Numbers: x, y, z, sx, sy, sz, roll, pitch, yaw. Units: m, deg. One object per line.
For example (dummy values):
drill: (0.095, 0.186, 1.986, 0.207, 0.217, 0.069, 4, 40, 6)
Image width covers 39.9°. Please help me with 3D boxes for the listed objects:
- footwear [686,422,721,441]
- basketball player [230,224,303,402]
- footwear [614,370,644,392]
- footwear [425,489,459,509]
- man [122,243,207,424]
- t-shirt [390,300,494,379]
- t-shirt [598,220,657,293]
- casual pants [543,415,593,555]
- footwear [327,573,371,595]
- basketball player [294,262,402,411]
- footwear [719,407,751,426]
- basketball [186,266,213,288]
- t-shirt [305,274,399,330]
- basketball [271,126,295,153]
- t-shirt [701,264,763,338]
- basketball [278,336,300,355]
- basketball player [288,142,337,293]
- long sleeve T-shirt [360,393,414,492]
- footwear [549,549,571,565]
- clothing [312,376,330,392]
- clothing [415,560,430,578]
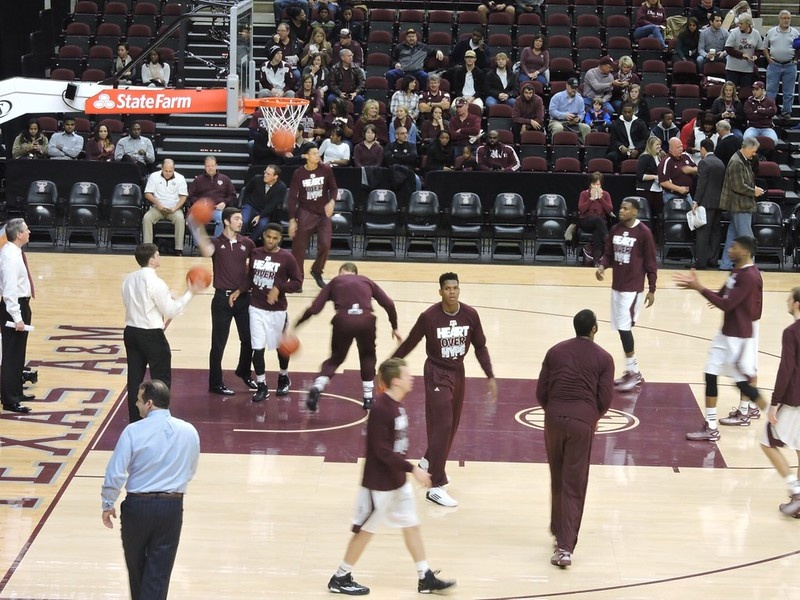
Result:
footwear: (3.399, 1.488, 12.475, 0.384, 0.235, 0.169, 2, 8, 5)
basketball player: (-1.520, 0.160, 13.077, 0.504, 2.137, 0.615, -4, 8, -35)
footwear: (2.835, 0.998, 13.764, 0.395, 0.170, 0.248, -5, 7, -43)
footwear: (0.409, 1.978, 11.131, 0.371, 0.172, 0.134, 11, 16, 32)
man: (-2.607, 0.361, 11.868, 0.728, 2.047, 0.675, 7, 20, 6)
t-shirt: (0.439, 0.416, 10.963, 1.076, 0.812, 0.367, 1, 22, -8)
t-shirt: (2.771, -0.519, 13.518, 0.671, 0.864, 0.315, 2, 7, 9)
casual pants: (1.489, 1.668, 10.039, 0.410, 1.245, 0.274, 7, 9, 40)
footwear: (-0.466, 2.500, 9.782, 0.404, 0.206, 0.156, 4, 8, -4)
basketball player: (-0.665, 0.504, 13.248, 1.499, 2.210, 0.737, 5, -25, -6)
footwear: (3.871, 1.384, 12.891, 0.430, 0.221, 0.156, 1, 3, -1)
basketball: (-2.069, -0.219, 11.395, 0.203, 0.204, 0.376, 1, 7, -5)
t-shirt: (-0.566, 0.042, 12.569, 1.240, 0.641, 0.326, 2, -1, -18)
basketball: (-1.909, -2.694, 18.308, 0.381, 0.453, 0.384, 2, -5, -11)
t-shirt: (3.612, 0.022, 11.935, 0.718, 0.800, 0.419, 1, 7, -4)
basketball: (-1.258, 0.522, 12.475, 0.217, 0.269, 0.357, 0, 7, -8)
basketball player: (-1.324, -1.226, 16.402, 0.672, 2.320, 0.668, 3, 31, -1)
long sleeve T-shirt: (-0.094, 1.226, 9.420, 0.475, 0.827, 0.326, 2, 7, 11)
footwear: (1.462, 2.352, 10.044, 0.097, 0.123, 0.265, 1, 7, -2)
clothing: (-0.893, 0.949, 12.398, 0.109, 0.081, 0.213, 9, 18, 3)
clothing: (0.200, 2.355, 9.698, 0.106, 0.163, 0.162, 4, 16, 13)
